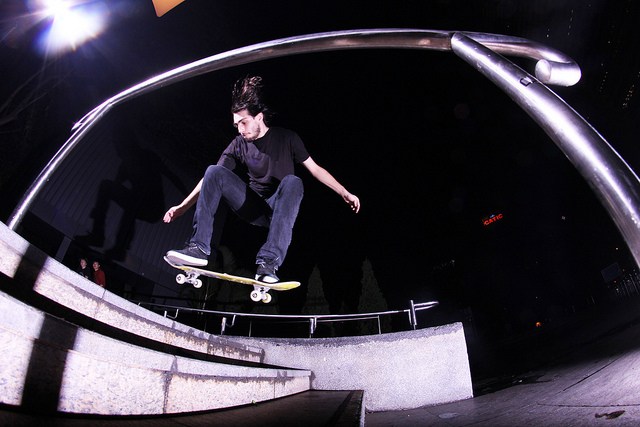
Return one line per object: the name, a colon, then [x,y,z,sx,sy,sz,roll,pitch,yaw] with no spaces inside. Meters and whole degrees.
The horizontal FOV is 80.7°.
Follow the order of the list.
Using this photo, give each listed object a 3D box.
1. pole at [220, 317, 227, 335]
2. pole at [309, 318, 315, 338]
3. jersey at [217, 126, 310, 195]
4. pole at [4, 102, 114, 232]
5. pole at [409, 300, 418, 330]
pole: [-2.637,3.111,10.422,0.099,0.487,0.410,8,-13,-15]
pole: [-0.176,2.970,9.844,0.099,0.482,0.165,3,-13,3]
jersey: [-1.156,-1.210,8.367,1.818,1.649,0.426,2,-13,7]
pole: [-7.826,-1.413,11.178,0.504,4.995,0.740,39,-11,-39]
pole: [2.355,2.534,9.477,0.159,0.678,0.896,1,-12,14]
